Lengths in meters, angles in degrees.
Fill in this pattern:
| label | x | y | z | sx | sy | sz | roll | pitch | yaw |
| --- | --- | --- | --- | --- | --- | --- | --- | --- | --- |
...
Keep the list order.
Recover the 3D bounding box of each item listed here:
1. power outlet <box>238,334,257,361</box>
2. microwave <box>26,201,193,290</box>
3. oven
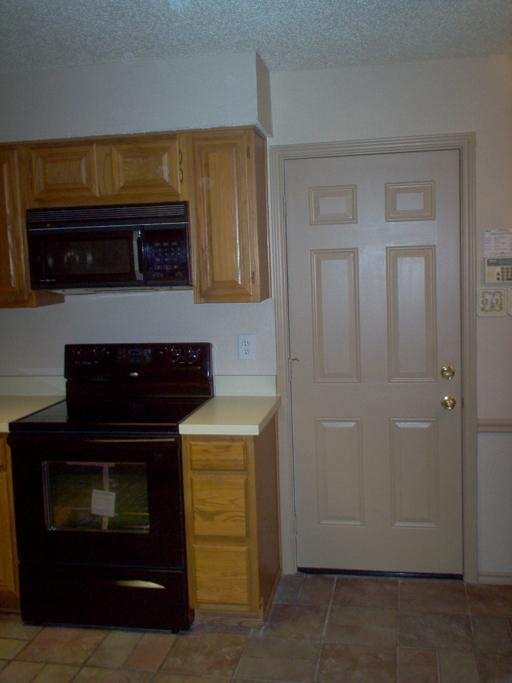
| label | x | y | z | sx | sy | sz | roll | pitch | yaw |
| --- | --- | --- | --- | --- | --- | --- | --- | --- | --- |
| power outlet | -0.037 | 0.019 | 2.623 | 0.113 | 0.155 | 0.016 | 2 | 7 | 11 |
| microwave | -0.592 | -0.384 | 2.490 | 0.665 | 0.341 | 0.315 | -1 | 2 | 3 |
| oven | -0.560 | 0.721 | 2.480 | 0.650 | 0.822 | 0.632 | -1 | 5 | 8 |
